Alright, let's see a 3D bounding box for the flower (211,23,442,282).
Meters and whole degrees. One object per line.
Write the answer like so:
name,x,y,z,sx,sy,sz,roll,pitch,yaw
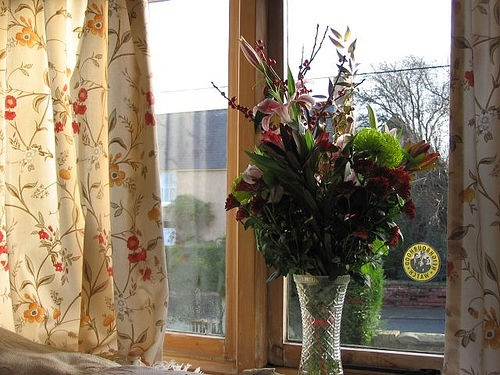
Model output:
flower,0.258,-0.073,2.113,0.569,0.790,0.535,0,-11,-39
